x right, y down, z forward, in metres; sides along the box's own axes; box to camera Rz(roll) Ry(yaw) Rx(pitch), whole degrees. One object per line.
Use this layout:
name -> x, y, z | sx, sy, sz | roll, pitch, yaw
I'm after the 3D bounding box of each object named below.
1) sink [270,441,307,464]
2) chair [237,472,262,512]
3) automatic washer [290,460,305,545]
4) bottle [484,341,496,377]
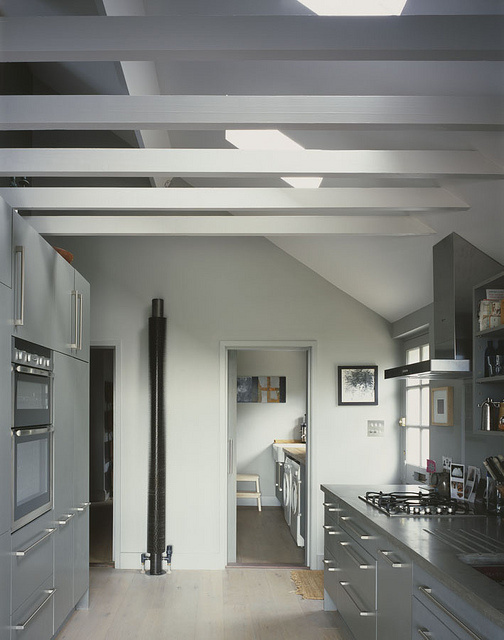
sink -> 0.492, 1.893, 7.361 | 0.463, 0.330, 1.000 | 0, -9, 0
chair -> -0.042, 2.417, 7.387 | 0.338, 0.486, 0.804 | 1, -9, -1
automatic washer -> 0.476, 1.967, 5.725 | 0.074, 0.814, 0.834 | 0, -8, 0
bottle -> 1.243, 0.205, 2.781 | 0.060, 0.184, 0.049 | -3, -8, 25
